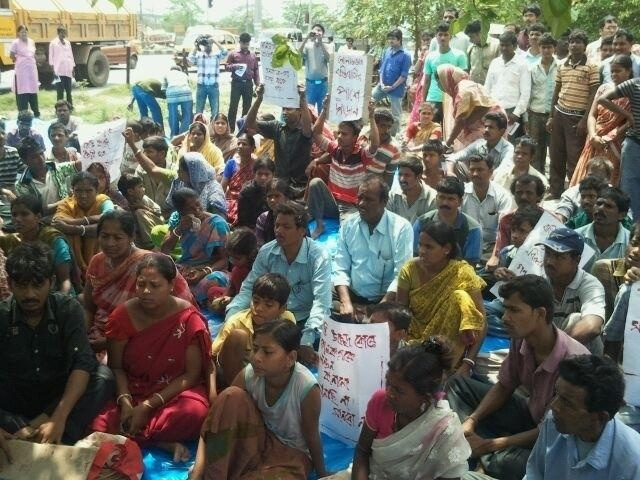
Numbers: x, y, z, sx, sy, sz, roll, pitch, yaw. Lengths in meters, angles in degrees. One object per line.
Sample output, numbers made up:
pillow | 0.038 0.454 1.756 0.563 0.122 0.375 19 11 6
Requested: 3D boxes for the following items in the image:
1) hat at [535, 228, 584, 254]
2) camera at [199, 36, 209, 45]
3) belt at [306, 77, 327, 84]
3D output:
hat | 2.244 0.039 7.384 0.296 0.154 0.220 16 1 -17
camera | -2.389 -4.107 16.536 0.208 0.216 0.568 -1 11 -8
belt | -0.063 -2.967 14.914 0.398 0.117 0.133 -1 11 -9
